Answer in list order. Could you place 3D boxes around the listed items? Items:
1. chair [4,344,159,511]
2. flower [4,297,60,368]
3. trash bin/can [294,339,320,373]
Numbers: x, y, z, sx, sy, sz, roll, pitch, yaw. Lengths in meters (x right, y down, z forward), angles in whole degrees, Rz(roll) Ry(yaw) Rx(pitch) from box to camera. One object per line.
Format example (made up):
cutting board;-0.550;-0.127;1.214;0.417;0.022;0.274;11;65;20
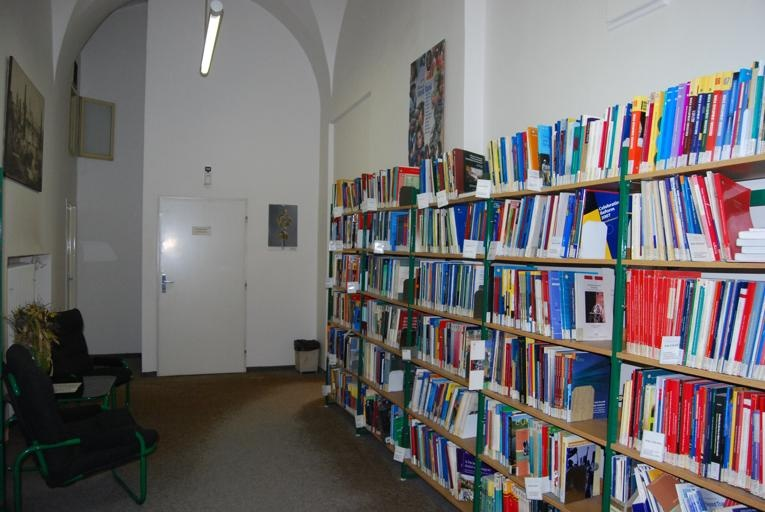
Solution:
chair;-2.527;1.421;4.958;1.348;1.733;1.178;2;3;-31
flower;-3.143;0.786;4.991;0.246;0.640;0.517;-16;20;-7
trash bin/can;-1.084;1.438;7.906;0.394;0.523;0.405;2;-10;-21
